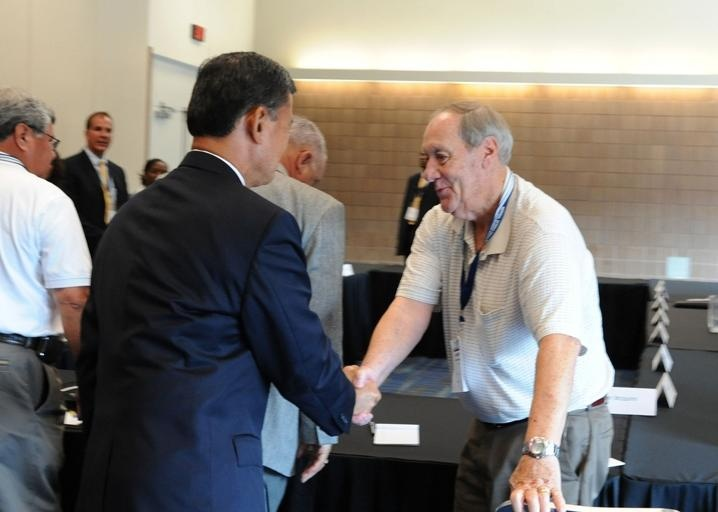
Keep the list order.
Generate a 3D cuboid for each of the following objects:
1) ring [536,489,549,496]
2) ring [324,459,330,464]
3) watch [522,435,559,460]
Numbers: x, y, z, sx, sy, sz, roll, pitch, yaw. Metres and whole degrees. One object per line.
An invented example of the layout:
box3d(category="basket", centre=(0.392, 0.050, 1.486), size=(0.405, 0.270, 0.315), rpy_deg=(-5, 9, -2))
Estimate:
box3d(category="ring", centre=(0.484, 0.615, 1.645), size=(0.013, 0.009, 0.017), rpy_deg=(-2, -4, -21))
box3d(category="ring", centre=(-0.117, 0.740, 2.278), size=(0.026, 0.009, 0.026), rpy_deg=(-3, 8, 0))
box3d(category="watch", centre=(0.495, 0.523, 1.713), size=(0.077, 0.048, 0.078), rpy_deg=(5, -17, 8))
